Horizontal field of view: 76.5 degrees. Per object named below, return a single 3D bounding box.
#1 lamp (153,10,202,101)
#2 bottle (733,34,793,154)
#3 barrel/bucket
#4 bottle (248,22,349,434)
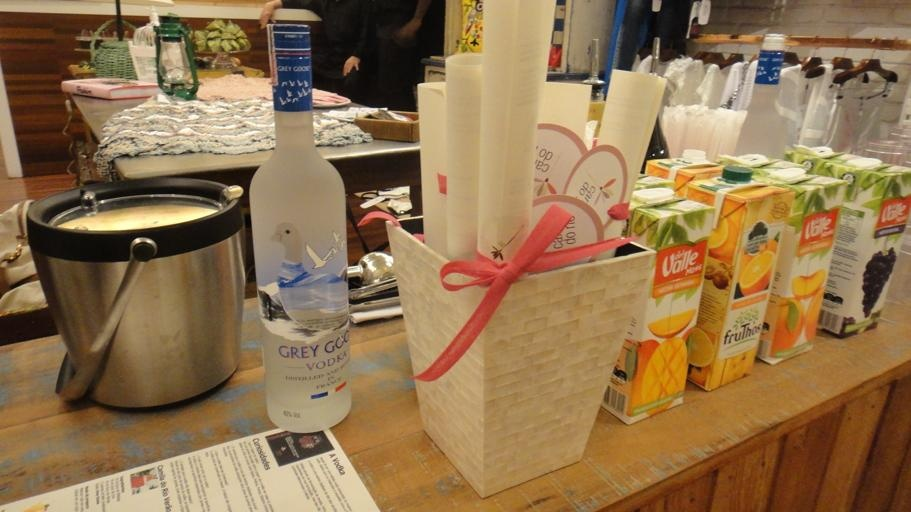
[{"bbox_3d":[-1.366,-0.961,2.792,0.190,0.379,0.251,-5,25,-12],"label":"lamp"},{"bbox_3d":[0.846,-0.423,1.544,0.120,0.316,0.250,12,27,23],"label":"bottle"},{"bbox_3d":[-0.667,0.072,1.254,0.392,0.441,0.282,1,25,2],"label":"barrel/bucket"},{"bbox_3d":[-0.302,-0.034,1.131,0.201,0.779,0.216,4,24,-2],"label":"bottle"}]
